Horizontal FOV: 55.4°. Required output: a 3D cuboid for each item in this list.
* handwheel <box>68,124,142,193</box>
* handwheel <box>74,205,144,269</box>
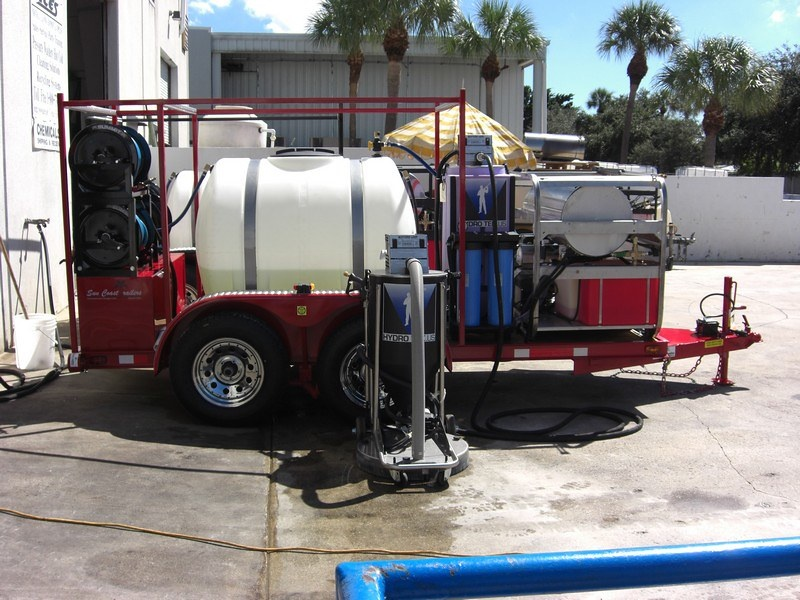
[{"bbox_3d":[-2.693,-1.293,6.957,0.607,0.583,0.273,-4,13,-24],"label":"handwheel"},{"bbox_3d":[-2.690,-0.570,7.009,0.494,0.598,0.420,-1,10,-14],"label":"handwheel"}]
